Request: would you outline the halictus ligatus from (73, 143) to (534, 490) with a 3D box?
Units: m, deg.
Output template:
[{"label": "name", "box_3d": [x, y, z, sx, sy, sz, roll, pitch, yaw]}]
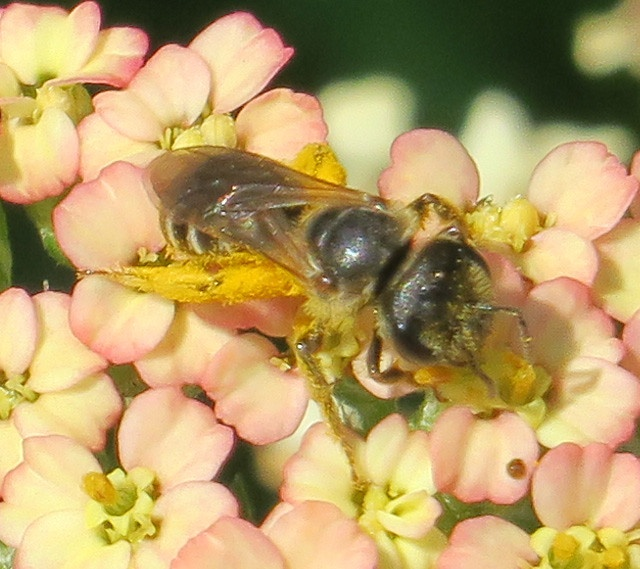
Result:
[{"label": "halictus ligatus", "box_3d": [0.002, -0.024, 0.735, 0.296, 0.092, 0.178, 31, 73, 20]}]
